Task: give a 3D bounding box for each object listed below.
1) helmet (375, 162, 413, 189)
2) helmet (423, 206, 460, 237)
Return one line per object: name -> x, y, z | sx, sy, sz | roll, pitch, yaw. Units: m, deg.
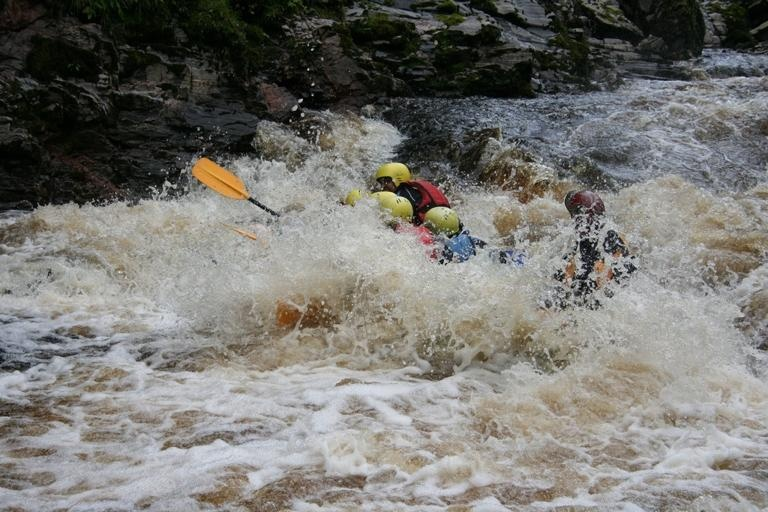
helmet -> 0.205, -1.756, 19.198 | 0.663, 0.485, 0.572 | -23, 86, -2
helmet -> 1.154, -0.690, 17.540 | 0.649, 0.557, 0.478 | 28, 90, -9
